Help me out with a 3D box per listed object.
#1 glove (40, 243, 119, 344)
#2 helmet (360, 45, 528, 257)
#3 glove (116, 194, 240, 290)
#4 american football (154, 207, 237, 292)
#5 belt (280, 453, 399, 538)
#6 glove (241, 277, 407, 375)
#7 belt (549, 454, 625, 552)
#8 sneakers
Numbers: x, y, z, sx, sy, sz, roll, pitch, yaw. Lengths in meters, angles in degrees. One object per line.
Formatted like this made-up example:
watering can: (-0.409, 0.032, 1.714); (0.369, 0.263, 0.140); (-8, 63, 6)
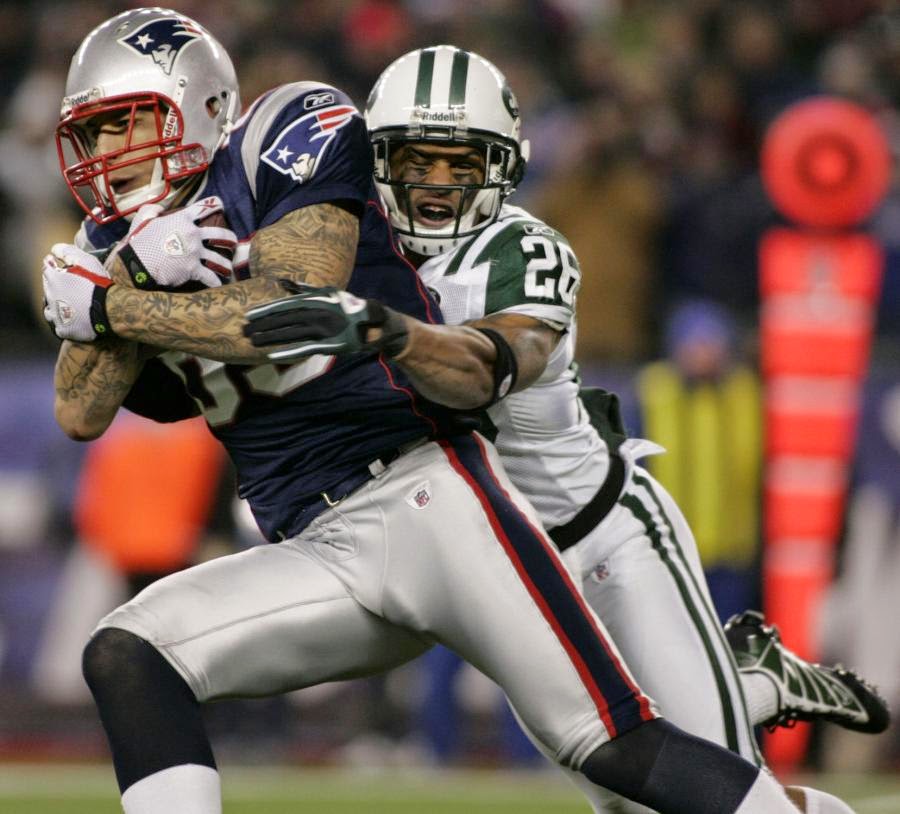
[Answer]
glove: (-0.695, -0.201, 2.923); (0.223, 0.200, 0.097); (16, 23, 36)
helmet: (-0.006, -0.609, 3.654); (0.434, 0.438, 0.483); (3, 12, 1)
glove: (-0.498, -0.290, 2.860); (0.199, 0.175, 0.067); (-22, -25, 2)
american football: (-0.467, -0.289, 2.856); (0.174, 0.140, 0.049); (-10, -25, -22)
belt: (-0.243, 0.149, 3.082); (0.209, 0.052, 0.155); (-34, -5, 6)
glove: (-0.221, -0.156, 2.712); (0.228, 0.130, 0.068); (-6, -23, -3)
belt: (0.323, 0.232, 3.571); (0.207, 0.052, 0.186); (-45, 21, 3)
sneakers: (0.874, 0.698, 3.948); (0.592, 0.225, 0.186); (12, -17, -32)
